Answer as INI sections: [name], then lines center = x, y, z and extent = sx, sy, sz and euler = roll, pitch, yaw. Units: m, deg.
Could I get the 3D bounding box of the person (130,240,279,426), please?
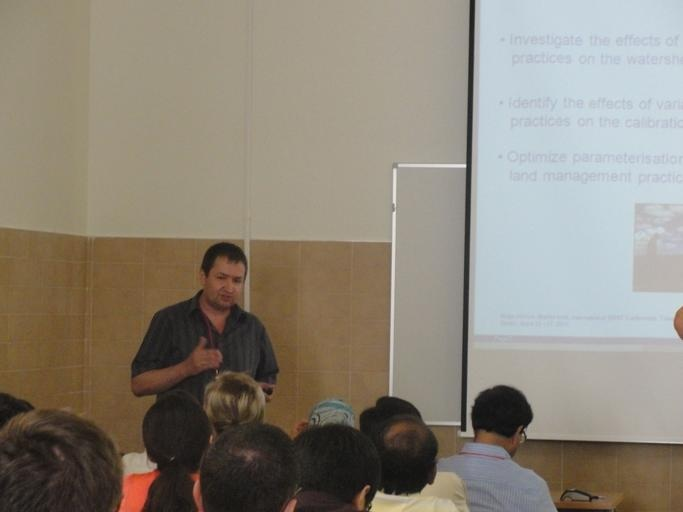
[person]
center = -0.757, 0.475, 5.123
extent = 0.731, 1.545, 0.541
euler = 4, -11, -18
